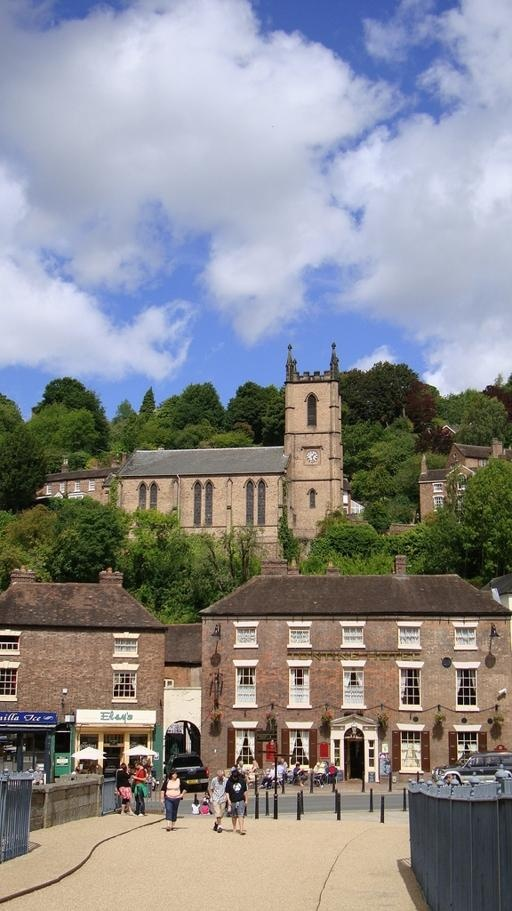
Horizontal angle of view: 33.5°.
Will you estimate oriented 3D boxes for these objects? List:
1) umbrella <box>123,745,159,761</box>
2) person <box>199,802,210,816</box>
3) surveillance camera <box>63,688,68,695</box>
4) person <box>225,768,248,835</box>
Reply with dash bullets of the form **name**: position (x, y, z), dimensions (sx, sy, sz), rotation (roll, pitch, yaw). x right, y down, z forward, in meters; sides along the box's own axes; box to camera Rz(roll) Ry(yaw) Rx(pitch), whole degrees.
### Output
- **umbrella**: position (-4.737, 12.165, 35.032), dimensions (1.687, 0.714, 1.698), rotation (8, -17, -14)
- **person**: position (-1.617, 11.166, 26.964), dimensions (0.309, 0.399, 0.753), rotation (0, -10, -3)
- **surveillance camera**: position (-8.573, 10.559, 38.266), dimensions (0.348, 0.363, 0.197), rotation (2, -4, -2)
- **person**: position (-0.483, 8.145, 20.141), dimensions (0.436, 1.455, 1.399), rotation (0, -9, -4)
